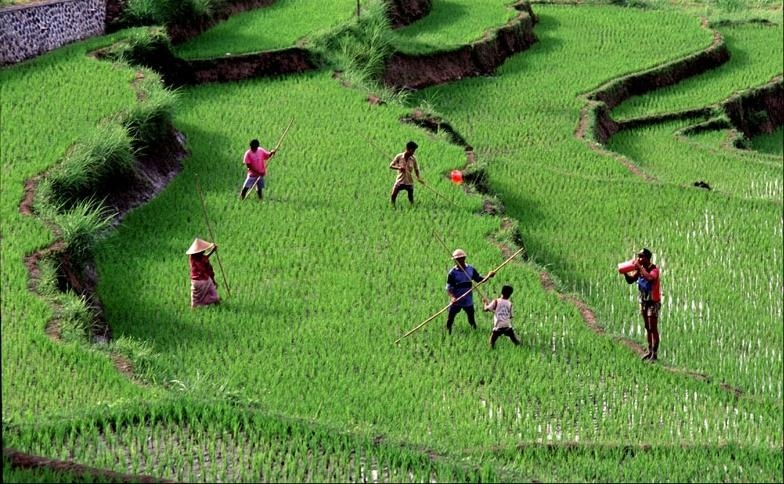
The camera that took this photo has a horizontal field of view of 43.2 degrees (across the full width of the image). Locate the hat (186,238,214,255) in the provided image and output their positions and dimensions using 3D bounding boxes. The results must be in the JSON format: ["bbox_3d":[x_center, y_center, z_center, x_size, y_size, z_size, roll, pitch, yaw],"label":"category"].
[{"bbox_3d":[-4.008,0.019,20.994,0.411,0.187,0.432,-3,13,25],"label":"hat"}]

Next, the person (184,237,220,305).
[{"bbox_3d":[-3.998,0.707,21.226,0.647,1.690,0.595,-5,26,-10],"label":"person"}]

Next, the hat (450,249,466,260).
[{"bbox_3d":[1.411,0.240,20.365,0.229,0.105,0.213,-13,12,-35],"label":"hat"}]

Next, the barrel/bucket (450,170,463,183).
[{"bbox_3d":[1.673,-1.689,25.320,0.310,0.365,0.310,-1,1,0],"label":"barrel/bucket"}]

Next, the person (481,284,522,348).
[{"bbox_3d":[2.284,1.586,20.592,1.040,1.859,0.676,0,45,0],"label":"person"}]

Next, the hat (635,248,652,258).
[{"bbox_3d":[5.397,0.235,21.223,0.235,0.129,0.174,17,-12,-21],"label":"hat"}]
